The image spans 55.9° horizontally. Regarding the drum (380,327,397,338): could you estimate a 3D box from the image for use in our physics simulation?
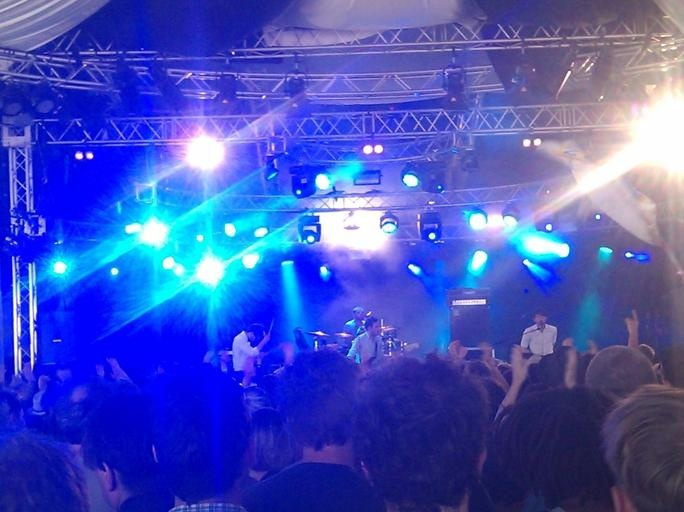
[{"bbox_3d":[0.975,1.584,13.894,0.340,0.247,0.500,-3,-14,5],"label":"drum"}]
